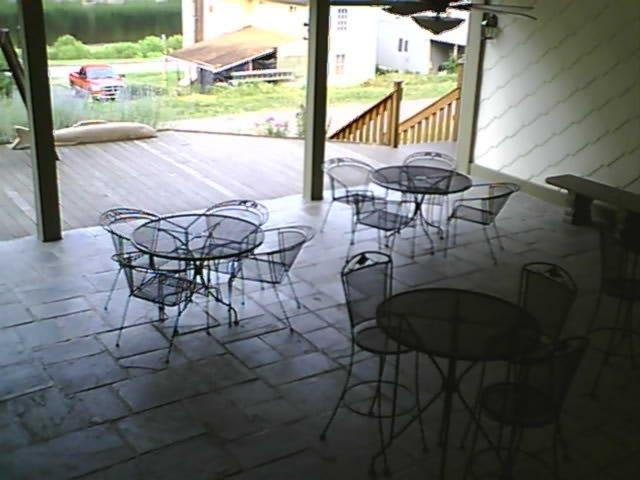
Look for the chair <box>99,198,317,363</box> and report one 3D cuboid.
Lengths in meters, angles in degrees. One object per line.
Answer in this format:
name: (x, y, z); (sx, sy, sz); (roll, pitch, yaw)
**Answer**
chair: (-1.447, 0.615, 5.618); (2.318, 0.859, 1.800); (-11, 30, -30)
